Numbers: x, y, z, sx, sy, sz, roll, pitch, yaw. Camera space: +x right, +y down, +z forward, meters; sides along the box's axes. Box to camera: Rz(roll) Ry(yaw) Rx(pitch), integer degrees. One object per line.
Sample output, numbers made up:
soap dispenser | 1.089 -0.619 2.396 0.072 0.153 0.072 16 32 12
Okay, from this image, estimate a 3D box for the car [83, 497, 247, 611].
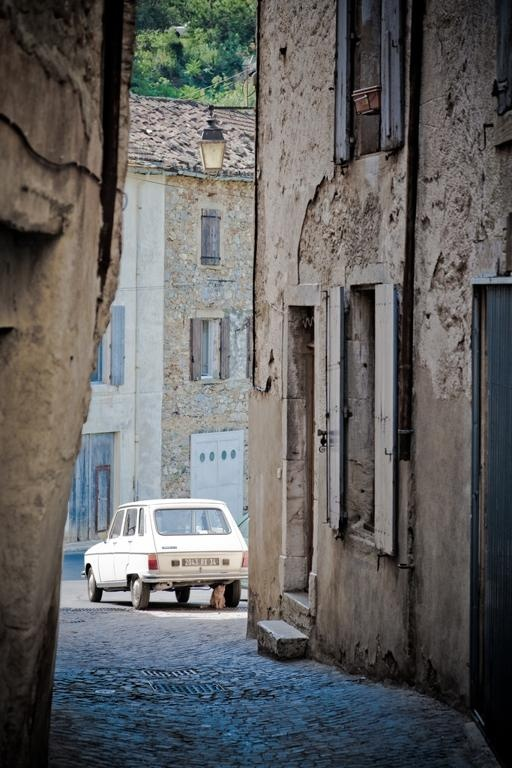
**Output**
car | -1.077 1.996 13.820 1.132 1.220 2.467 -1 -6 -44
